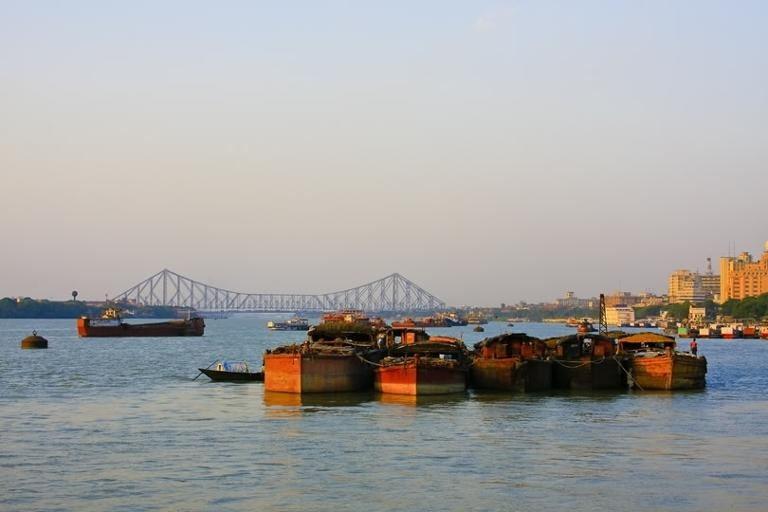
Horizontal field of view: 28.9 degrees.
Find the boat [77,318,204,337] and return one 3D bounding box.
[{"bbox_3d":[-48.079,14.154,297.410,26.502,4.074,5.176,4,-8,-44],"label":"boat"}]
